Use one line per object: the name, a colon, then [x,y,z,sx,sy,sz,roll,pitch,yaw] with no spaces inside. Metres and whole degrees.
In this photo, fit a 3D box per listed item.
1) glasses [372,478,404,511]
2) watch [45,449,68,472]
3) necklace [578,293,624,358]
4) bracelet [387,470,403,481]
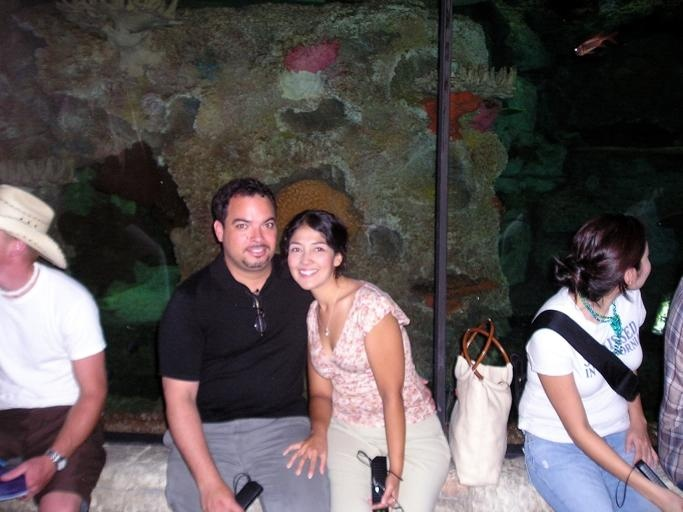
glasses: [0.279,1.447,3.765,0.199,0.266,0.115,0,1,3]
watch: [-1.721,1.237,3.740,0.066,0.101,0.104,-34,-6,-44]
necklace: [1.656,0.443,3.894,0.101,0.380,0.232,-14,7,37]
bracelet: [0.323,1.349,3.786,0.079,0.024,0.060,13,0,-9]
